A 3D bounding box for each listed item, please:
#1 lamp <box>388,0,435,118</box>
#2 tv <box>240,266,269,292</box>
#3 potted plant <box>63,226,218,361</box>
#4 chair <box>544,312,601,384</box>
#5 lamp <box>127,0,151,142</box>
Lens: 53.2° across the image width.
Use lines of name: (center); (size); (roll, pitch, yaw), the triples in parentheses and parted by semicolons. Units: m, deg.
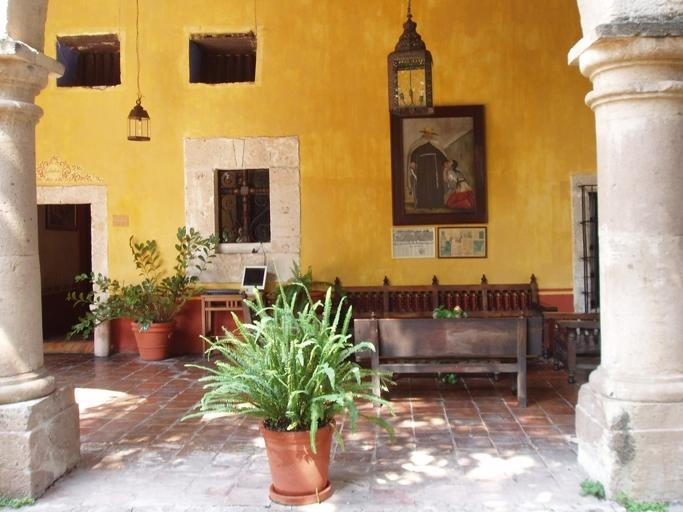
lamp: (0.705, -1.959, 7.030); (0.451, 0.947, 0.323); (-1, 7, 5)
tv: (-1.215, 0.317, 9.544); (0.323, 0.330, 0.129); (2, -9, 6)
potted plant: (-2.856, 0.532, 10.322); (1.846, 1.561, 1.902); (-1, -15, -4)
chair: (2.884, 1.042, 8.363); (0.571, 0.581, 0.901); (-1, -2, 2)
lamp: (-2.815, -2.596, 9.366); (0.334, 2.019, 1.136); (-3, 7, -16)
